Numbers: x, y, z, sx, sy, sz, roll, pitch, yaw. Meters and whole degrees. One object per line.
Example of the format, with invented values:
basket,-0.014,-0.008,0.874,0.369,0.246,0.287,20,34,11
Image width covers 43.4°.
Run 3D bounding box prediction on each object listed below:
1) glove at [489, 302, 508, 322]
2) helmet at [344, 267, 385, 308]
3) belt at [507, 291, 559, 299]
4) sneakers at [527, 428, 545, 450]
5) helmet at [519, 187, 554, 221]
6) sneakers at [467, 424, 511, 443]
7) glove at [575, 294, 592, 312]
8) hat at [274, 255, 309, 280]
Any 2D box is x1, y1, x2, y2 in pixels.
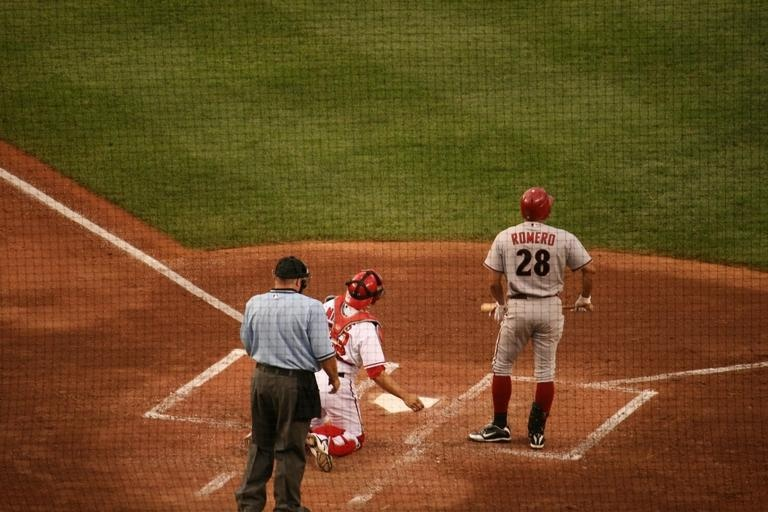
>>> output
glove,1.551,0.723,12.727,0.196,0.245,0.075,10,1,30
helmet,-0.214,0.401,12.406,0.399,0.520,0.451,38,-22,22
belt,1.933,0.509,12.467,0.624,0.123,0.114,6,10,-2
sneakers,2.001,2.373,12.592,0.142,0.128,0.312,3,13,3
helmet,1.975,-0.673,12.531,0.384,0.429,0.215,7,11,5
sneakers,1.414,2.329,12.840,0.631,0.255,0.219,2,-2,3
glove,2.653,0.589,12.850,0.272,0.131,0.351,9,-20,0
hat,-1.151,0.125,11.818,0.269,0.194,0.343,1,12,-12
